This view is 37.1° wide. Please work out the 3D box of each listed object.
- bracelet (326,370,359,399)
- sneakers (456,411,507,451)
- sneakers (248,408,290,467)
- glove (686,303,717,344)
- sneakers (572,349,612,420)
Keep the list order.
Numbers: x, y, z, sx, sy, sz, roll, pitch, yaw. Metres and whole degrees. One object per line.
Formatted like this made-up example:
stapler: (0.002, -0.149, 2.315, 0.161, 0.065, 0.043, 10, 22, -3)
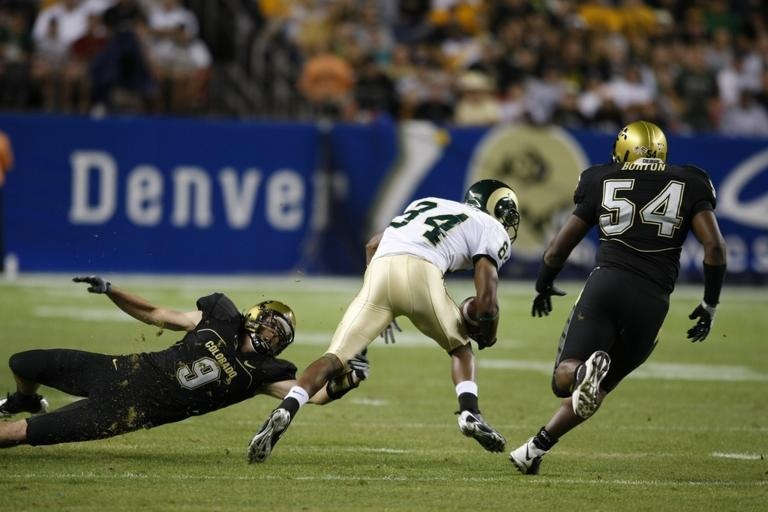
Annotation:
bracelet: (-0.353, 1.150, 10.376, 0.349, 0.140, 0.196, -29, 5, 40)
sneakers: (0.817, 1.541, 10.312, 0.581, 0.205, 0.274, 32, 30, -41)
sneakers: (-0.998, 1.572, 10.024, 0.298, 0.504, 0.202, 41, -5, 1)
glove: (2.933, 0.593, 10.407, 0.211, 0.442, 0.140, -4, -30, -4)
sneakers: (1.786, 1.120, 9.946, 0.257, 0.623, 0.287, 25, -5, -15)
